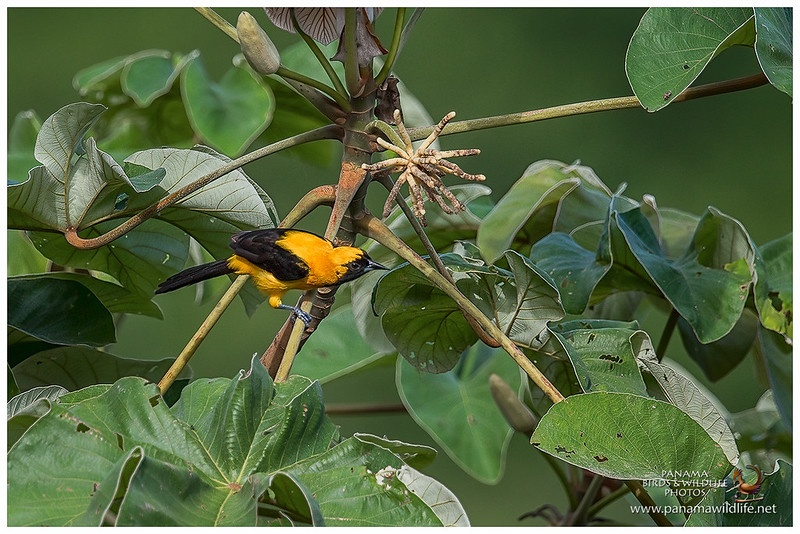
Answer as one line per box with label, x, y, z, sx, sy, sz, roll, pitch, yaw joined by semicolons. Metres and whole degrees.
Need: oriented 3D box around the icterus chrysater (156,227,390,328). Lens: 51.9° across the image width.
icterus chrysater;-0.304;0.009;1.963;0.548;0.202;0.151;10;11;11
